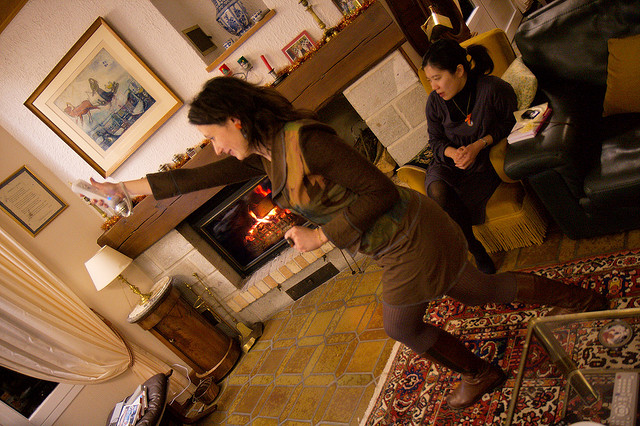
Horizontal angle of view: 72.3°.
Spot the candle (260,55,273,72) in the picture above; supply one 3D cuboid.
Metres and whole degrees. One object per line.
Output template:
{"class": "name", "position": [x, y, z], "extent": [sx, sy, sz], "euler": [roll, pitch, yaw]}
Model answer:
{"class": "candle", "position": [-0.498, -1.383, 4.031], "extent": [0.047, 0.136, 0.096], "euler": [-36, 18, 9]}

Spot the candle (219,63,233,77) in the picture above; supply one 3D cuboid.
{"class": "candle", "position": [-0.873, -1.311, 4.030], "extent": [0.083, 0.114, 0.048], "euler": [-39, 17, 3]}

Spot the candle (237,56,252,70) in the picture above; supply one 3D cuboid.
{"class": "candle", "position": [-0.695, -1.377, 4.027], "extent": [0.029, 0.108, 0.081], "euler": [-6, 47, 56]}

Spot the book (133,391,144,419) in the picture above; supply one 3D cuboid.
{"class": "book", "position": [-1.452, 1.551, 3.536], "extent": [0.118, 0.028, 0.116], "euler": [-33, 44, 30]}

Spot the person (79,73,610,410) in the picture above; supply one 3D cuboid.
{"class": "person", "position": [0.421, 0.064, 2.418], "extent": [1.011, 1.708, 0.427], "euler": [-40, 17, -2]}
